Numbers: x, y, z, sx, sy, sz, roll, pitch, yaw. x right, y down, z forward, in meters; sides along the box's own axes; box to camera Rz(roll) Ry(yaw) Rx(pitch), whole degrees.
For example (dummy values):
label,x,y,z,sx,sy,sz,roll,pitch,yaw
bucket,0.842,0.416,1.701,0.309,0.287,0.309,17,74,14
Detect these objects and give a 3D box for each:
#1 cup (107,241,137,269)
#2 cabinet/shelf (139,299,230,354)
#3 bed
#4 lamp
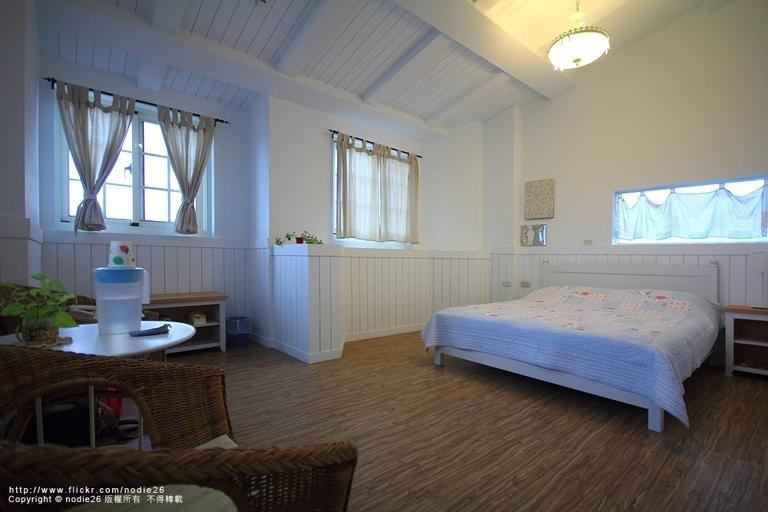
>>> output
label,x,y,z,sx,sy,sz,roll,pitch,yaw
cup,-1.834,-0.010,3.259,0.185,0.176,0.185,-1,-1,0
cabinet/shelf,-2.458,0.823,5.726,0.902,0.630,0.478,1,-1,-35
bed,2.168,0.734,5.349,2.576,1.213,2.309,3,1,39
lamp,1.978,-2.243,4.795,0.529,0.448,0.416,3,2,42
